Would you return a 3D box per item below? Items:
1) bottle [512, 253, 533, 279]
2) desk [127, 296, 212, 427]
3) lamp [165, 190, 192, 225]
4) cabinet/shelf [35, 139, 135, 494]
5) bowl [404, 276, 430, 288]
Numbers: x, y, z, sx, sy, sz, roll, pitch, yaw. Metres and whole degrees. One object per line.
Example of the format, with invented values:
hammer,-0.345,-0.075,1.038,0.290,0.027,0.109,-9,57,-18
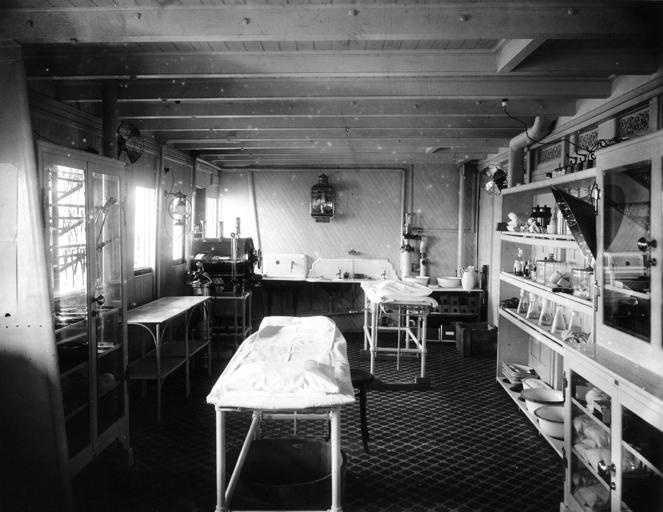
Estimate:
bottle,2.442,0.136,6.834,0.365,0.405,0.207,3,-4,-44
desk,-2.236,1.317,7.234,0.640,1.231,2.347,0,2,0
lamp,-2.317,-0.776,8.188,0.313,0.503,0.158,2,44,-8
cabinet/shelf,-2.146,0.525,4.850,0.382,2.994,1.143,2,7,5
bowl,1.679,0.472,10.359,0.397,0.165,0.373,5,-4,0
